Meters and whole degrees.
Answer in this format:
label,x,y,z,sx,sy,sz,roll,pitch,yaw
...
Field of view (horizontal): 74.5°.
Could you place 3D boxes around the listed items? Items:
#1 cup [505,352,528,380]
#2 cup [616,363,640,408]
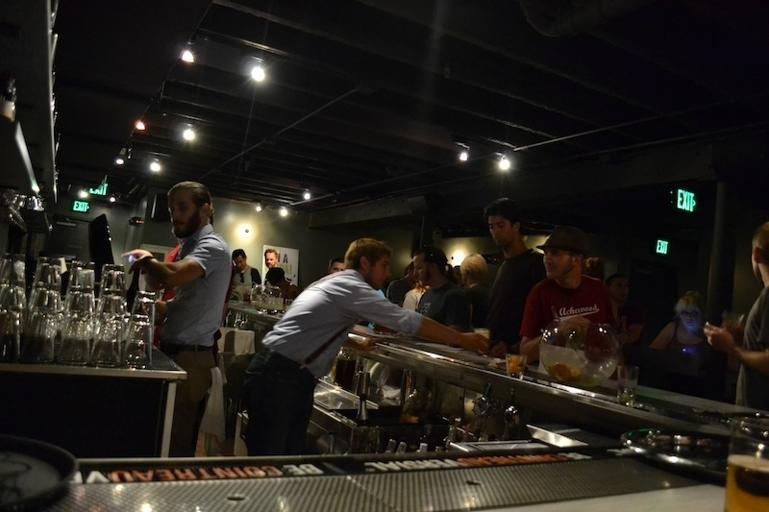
label,x,y,z,sx,sy,sz,roll,pitch,yaw
cup,0.641,0.551,2.493,0.102,0.116,0.101,4,-12,1
cup,1.016,0.543,2.124,0.075,0.152,0.221,4,4,26
